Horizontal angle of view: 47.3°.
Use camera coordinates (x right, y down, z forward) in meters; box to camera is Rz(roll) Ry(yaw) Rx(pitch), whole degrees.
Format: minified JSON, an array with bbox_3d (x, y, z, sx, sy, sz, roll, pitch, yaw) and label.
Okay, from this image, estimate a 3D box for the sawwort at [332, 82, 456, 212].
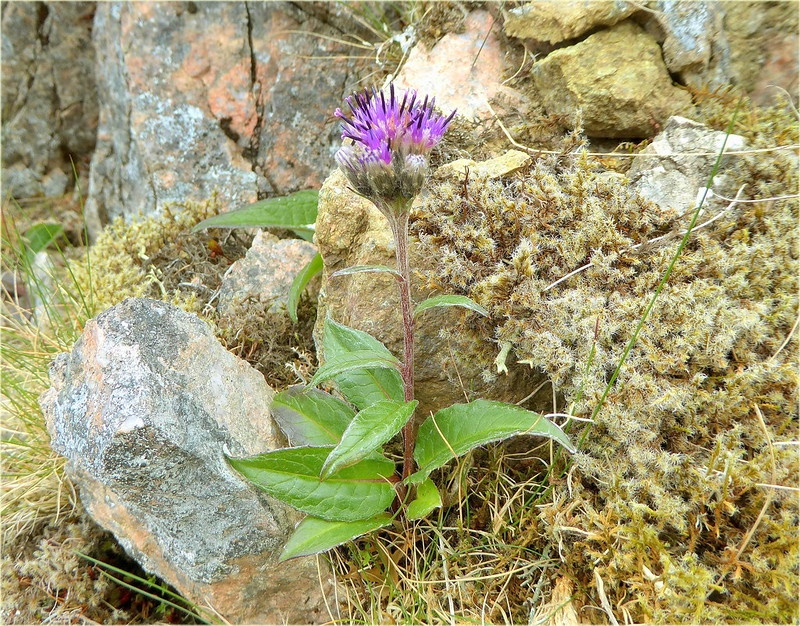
[{"bbox_3d":[-0.009,-0.662,3.742,0.384,0.463,0.390,-25,20,36],"label":"sawwort"}]
